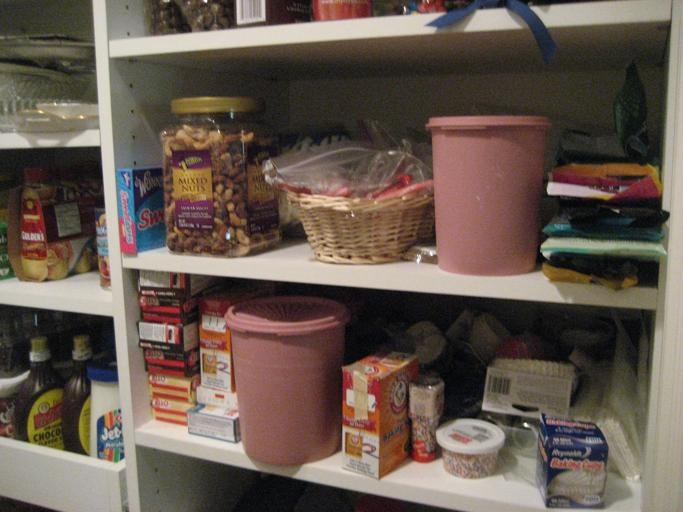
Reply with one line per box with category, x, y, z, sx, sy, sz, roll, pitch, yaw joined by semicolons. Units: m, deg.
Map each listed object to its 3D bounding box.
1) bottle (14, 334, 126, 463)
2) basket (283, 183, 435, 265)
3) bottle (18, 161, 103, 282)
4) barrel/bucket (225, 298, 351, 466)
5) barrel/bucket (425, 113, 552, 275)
bottle;-0.672;0.365;1.552;0.282;0.407;0.152;3;8;12
basket;0.048;-0.060;1.214;0.290;0.151;0.111;-6;12;-5
bottle;-0.761;-0.082;1.641;0.143;0.387;0.194;8;17;22
barrel/bucket;-0.131;0.224;1.392;0.279;0.316;0.289;0;11;0
barrel/bucket;0.238;-0.127;1.220;0.251;0.291;0.257;-1;7;0
